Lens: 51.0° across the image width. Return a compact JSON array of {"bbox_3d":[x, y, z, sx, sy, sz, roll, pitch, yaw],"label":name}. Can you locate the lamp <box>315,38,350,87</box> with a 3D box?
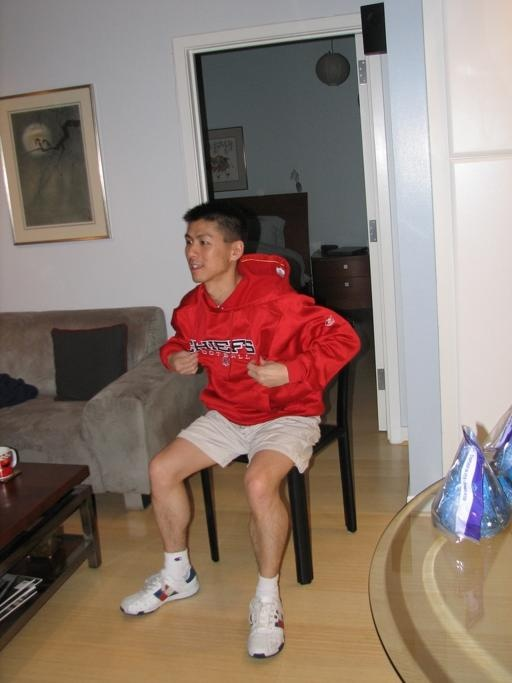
[{"bbox_3d":[0.752,-2.714,5.323,0.341,0.358,0.340,-21,26,-37],"label":"lamp"}]

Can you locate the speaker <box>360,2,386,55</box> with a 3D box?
[{"bbox_3d":[0.460,-1.238,2.106,0.086,0.182,0.215,-3,8,13],"label":"speaker"}]

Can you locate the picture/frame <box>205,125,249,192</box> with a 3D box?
[{"bbox_3d":[-0.363,-2.405,7.100,0.463,0.848,0.214,-5,8,0],"label":"picture/frame"}]

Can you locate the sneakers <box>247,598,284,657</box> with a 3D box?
[{"bbox_3d":[0.018,0.741,1.397,0.064,0.069,0.165,-1,5,3],"label":"sneakers"}]

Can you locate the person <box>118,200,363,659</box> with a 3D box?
[{"bbox_3d":[-0.058,0.176,1.658,0.692,1.239,0.657,0,9,31],"label":"person"}]

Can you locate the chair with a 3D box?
[{"bbox_3d":[0.062,0.352,1.869,0.574,0.758,0.584,-7,6,-10],"label":"chair"}]

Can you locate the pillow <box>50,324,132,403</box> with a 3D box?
[{"bbox_3d":[-0.785,0.111,2.570,0.344,0.349,0.126,-5,-18,0],"label":"pillow"}]

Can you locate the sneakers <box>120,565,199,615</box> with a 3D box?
[{"bbox_3d":[-0.291,0.761,1.661,0.257,0.098,0.090,-13,7,-24],"label":"sneakers"}]

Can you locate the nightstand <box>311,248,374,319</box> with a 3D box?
[{"bbox_3d":[0.883,-0.614,5.569,0.687,0.684,0.644,1,16,14],"label":"nightstand"}]
